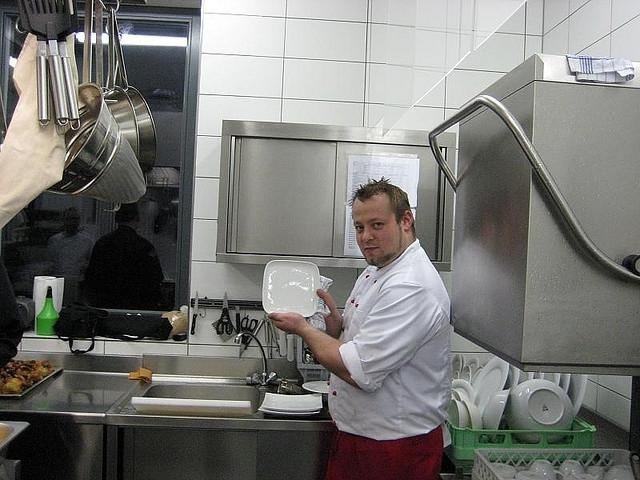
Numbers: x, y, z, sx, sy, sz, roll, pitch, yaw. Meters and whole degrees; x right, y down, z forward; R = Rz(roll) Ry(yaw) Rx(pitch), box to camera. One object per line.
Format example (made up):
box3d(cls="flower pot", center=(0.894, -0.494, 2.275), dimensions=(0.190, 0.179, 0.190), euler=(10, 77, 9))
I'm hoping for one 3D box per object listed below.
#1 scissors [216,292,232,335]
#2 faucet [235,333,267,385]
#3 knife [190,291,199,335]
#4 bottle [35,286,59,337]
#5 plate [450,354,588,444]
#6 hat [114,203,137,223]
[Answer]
box3d(cls="scissors", center=(-0.482, 0.383, 2.691), dimensions=(0.097, 0.230, 0.058), euler=(1, 5, -12))
box3d(cls="faucet", center=(-0.324, 0.579, 2.630), dimensions=(0.158, 0.230, 0.178), euler=(2, 5, -7))
box3d(cls="knife", center=(-0.634, 0.368, 2.690), dimensions=(0.035, 0.224, 0.021), euler=(3, 2, 0))
box3d(cls="bottle", center=(-1.361, 0.359, 2.656), dimensions=(0.099, 0.250, 0.088), euler=(-1, 6, -29))
box3d(cls="plate", center=(0.743, 0.613, 2.043), dimensions=(0.391, 0.124, 0.408), euler=(-1, 2, -3))
box3d(cls="hat", center=(-0.995, -0.140, 2.714), dimensions=(0.071, 0.104, 0.098), euler=(-1, 17, -15))
